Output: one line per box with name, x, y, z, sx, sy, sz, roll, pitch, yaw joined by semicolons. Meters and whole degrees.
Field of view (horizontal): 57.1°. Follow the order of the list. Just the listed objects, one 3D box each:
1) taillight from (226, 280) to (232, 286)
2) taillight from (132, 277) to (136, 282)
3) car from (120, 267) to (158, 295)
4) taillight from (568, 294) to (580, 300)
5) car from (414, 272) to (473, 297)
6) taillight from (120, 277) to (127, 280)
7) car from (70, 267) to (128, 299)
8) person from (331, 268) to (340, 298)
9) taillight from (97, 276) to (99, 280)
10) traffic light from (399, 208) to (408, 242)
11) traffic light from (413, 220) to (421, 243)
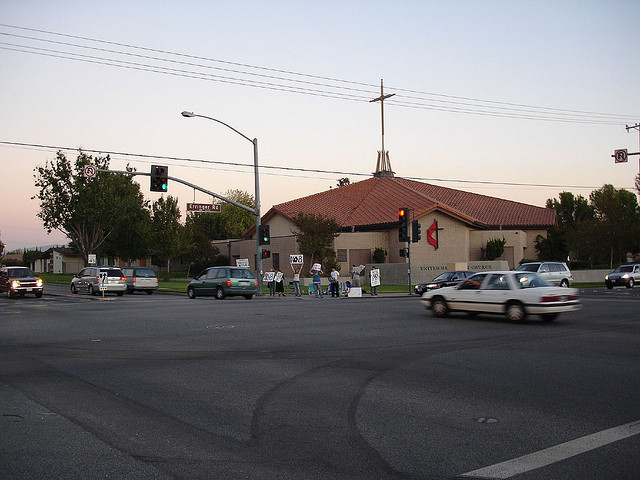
taillight;-5.135;2.429;33.508;0.283;0.233;0.060;-1;0;-10
taillight;-12.772;2.701;40.492;0.243;0.255;0.244;1;-2;-38
car;-12.778;2.724;41.666;1.418;1.213;2.769;0;3;-28
taillight;8.388;1.875;19.449;0.183;0.170;0.676;-2;-1;41
car;7.372;2.768;34.710;3.461;1.258;1.651;0;-2;2
taillight;-13.040;2.531;39.055;0.268;0.222;0.455;-1;-3;29
car;-14.807;2.870;39.637;2.112;1.583;3.962;2;1;-35
person;0.915;2.679;36.174;0.407;1.388;0.984;-1;-1;0
taillight;-14.317;2.436;38.093;0.185;0.202;0.031;-1;-1;40
traffic light;4.985;-0.954;35.224;0.780;1.747;0.509;0;-1;-40
traffic light;5.959;-0.578;36.495;0.339;1.176;1.317;-1;-1;12
